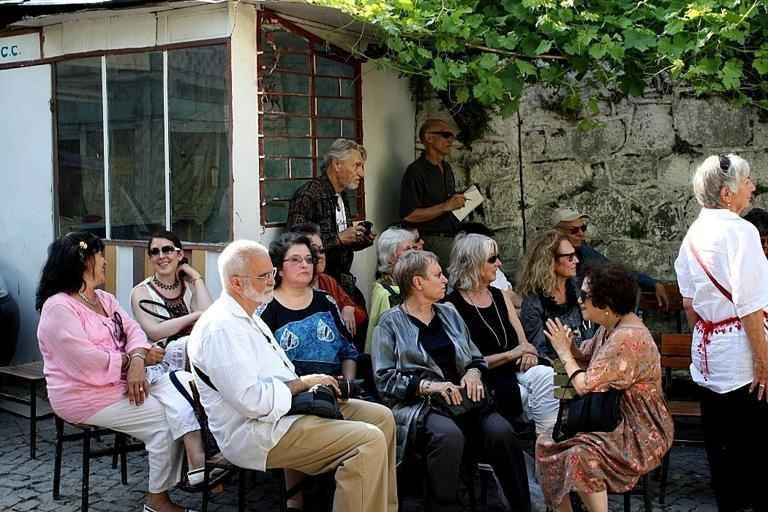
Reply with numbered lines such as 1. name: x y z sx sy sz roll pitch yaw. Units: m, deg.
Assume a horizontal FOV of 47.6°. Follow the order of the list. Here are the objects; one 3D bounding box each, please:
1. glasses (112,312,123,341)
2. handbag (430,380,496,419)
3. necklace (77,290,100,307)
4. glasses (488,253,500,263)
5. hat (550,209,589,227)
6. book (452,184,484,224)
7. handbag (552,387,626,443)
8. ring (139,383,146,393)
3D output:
1. glasses: -2.100 0.558 6.894 0.047 0.199 0.126 -19 -12 27
2. handbag: 0.619 1.095 6.579 0.320 0.253 0.123 -4 -32 -20
3. necklace: -2.290 0.327 6.751 0.075 0.142 0.103 -49 -19 25
4. glasses: 0.942 0.013 7.485 0.090 0.090 0.030 -9 3 -29
5. hat: 1.786 -0.367 8.549 0.247 0.112 0.178 -10 -2 40
6. book: 0.888 -0.562 9.128 0.411 0.303 0.110 -37 -1 4
7. handbag: 1.469 1.131 6.158 0.348 0.342 0.198 -13 -26 39
8. ring: -1.834 1.008 6.610 0.072 0.068 0.022 -10 5 -36
